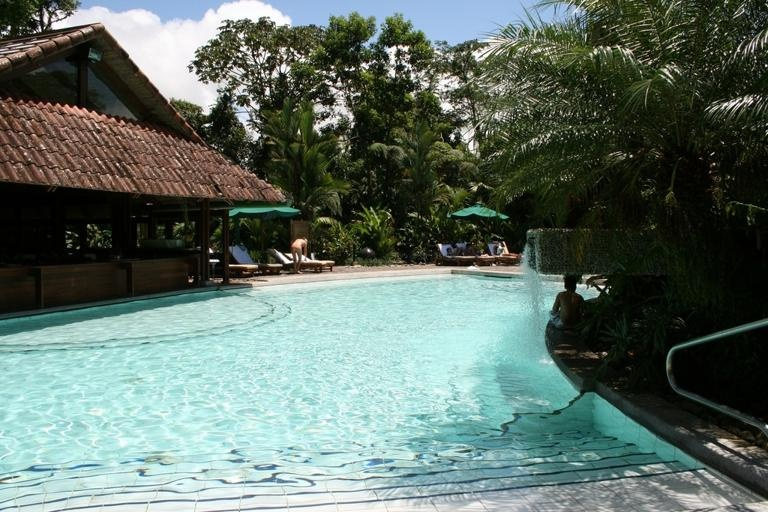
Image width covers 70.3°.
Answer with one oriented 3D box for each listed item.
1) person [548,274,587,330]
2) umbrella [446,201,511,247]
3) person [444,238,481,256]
[{"bbox_3d":[3.645,0.925,10.789,0.718,1.045,0.810,1,3,-8],"label":"person"},{"bbox_3d":[4.205,-1.811,25.609,2.818,1.014,2.658,-2,-4,1],"label":"umbrella"},{"bbox_3d":[3.678,-0.279,25.508,0.917,0.555,1.440,-1,0,43],"label":"person"}]
